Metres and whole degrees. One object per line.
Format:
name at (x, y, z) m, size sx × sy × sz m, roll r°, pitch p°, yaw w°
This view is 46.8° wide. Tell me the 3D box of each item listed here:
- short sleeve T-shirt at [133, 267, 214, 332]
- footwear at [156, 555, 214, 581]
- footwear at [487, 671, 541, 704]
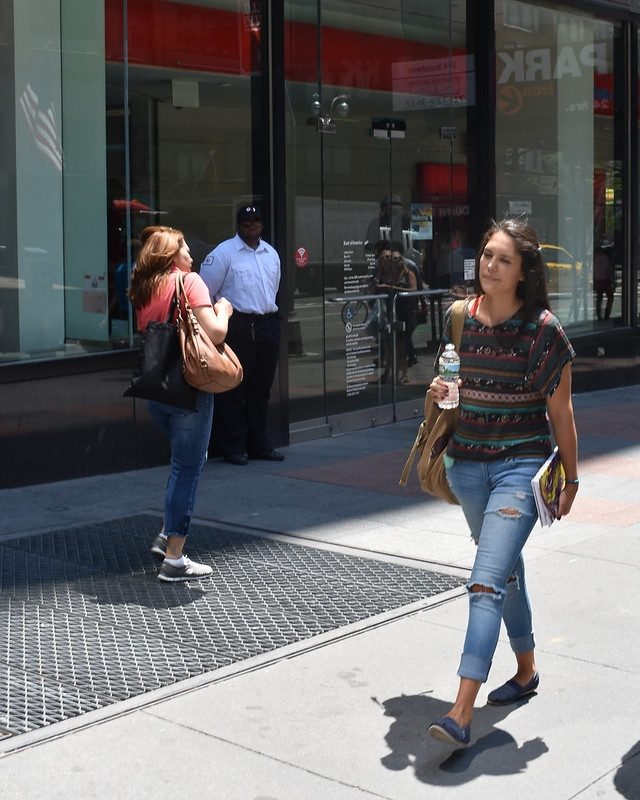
short sleeve T-shirt at (-0.742, -0.507, 3.715) m, size 0.450 × 0.306 × 0.243 m, roll -20°, pitch 18°, yaw -14°
footwear at (-0.719, 0.907, 4.004) m, size 0.321 × 0.130 × 0.111 m, roll 0°, pitch 3°, yaw -30°
footwear at (0.648, 0.981, 2.546) m, size 0.201 × 0.074 × 0.071 m, roll -13°, pitch -1°, yaw -33°
